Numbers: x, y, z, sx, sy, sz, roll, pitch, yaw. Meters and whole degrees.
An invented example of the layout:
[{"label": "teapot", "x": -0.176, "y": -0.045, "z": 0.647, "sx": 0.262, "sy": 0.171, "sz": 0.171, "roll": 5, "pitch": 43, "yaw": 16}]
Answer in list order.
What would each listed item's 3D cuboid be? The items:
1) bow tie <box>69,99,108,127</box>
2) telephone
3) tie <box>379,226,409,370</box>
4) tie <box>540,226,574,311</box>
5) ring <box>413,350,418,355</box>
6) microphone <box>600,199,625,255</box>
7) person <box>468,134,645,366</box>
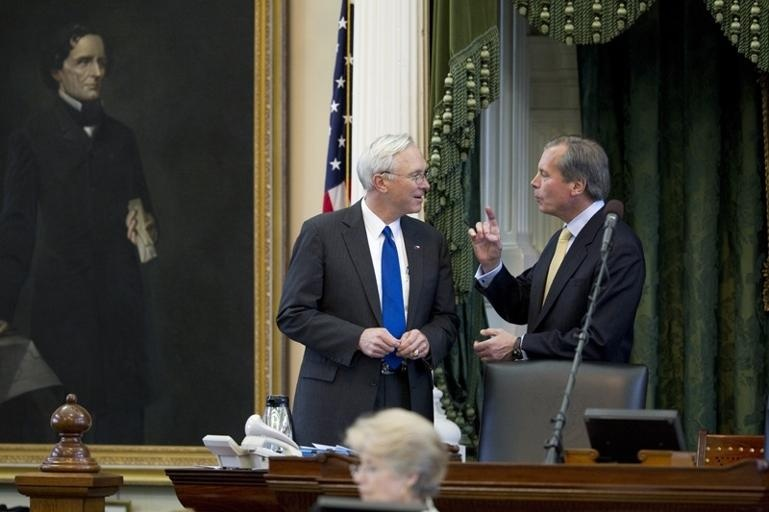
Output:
[{"label": "bow tie", "x": -2.180, "y": -1.038, "z": 10.127, "sx": 0.205, "sy": 0.172, "sz": 0.180, "roll": -1, "pitch": -3, "yaw": 3}, {"label": "telephone", "x": -0.717, "y": 1.002, "z": 7.412, "sx": 0.520, "sy": 0.243, "sz": 0.261, "roll": -1, "pitch": 0, "yaw": 2}, {"label": "tie", "x": 0.040, "y": 0.159, "z": 8.381, "sx": 0.148, "sy": 0.621, "sz": 0.153, "roll": -1, "pitch": 0, "yaw": -8}, {"label": "tie", "x": 1.079, "y": 0.062, "z": 8.532, "sx": 0.090, "sy": 0.095, "sz": 0.858, "roll": 25, "pitch": 31, "yaw": -4}, {"label": "ring", "x": 0.175, "y": 0.569, "z": 8.155, "sx": 0.029, "sy": 0.027, "sz": 0.007, "roll": -1, "pitch": 0, "yaw": -26}, {"label": "microphone", "x": 1.267, "y": -0.179, "z": 7.707, "sx": 0.091, "sy": 0.383, "sz": 0.093, "roll": 14, "pitch": -38, "yaw": 7}, {"label": "person", "x": 1.049, "y": -0.047, "z": 8.463, "sx": 1.050, "sy": 0.983, "sz": 0.738, "roll": -1, "pitch": 0, "yaw": 10}]
